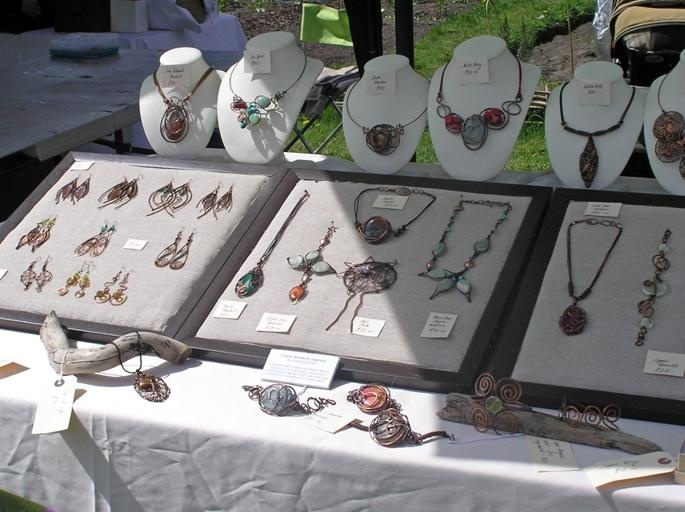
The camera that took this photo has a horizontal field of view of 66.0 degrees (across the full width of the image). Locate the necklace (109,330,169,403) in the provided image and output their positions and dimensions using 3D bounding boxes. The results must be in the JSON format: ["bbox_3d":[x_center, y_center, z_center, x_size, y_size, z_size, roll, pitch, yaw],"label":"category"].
[{"bbox_3d":[-0.530,0.254,1.351,0.090,0.039,0.268,-18,33,-26],"label":"necklace"}]

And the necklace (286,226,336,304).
[{"bbox_3d":[-0.098,0.026,1.572,0.107,0.022,0.210,11,56,25],"label":"necklace"}]

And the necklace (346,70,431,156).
[{"bbox_3d":[0.156,-0.538,1.975,0.319,0.332,0.246,0,38,9],"label":"necklace"}]

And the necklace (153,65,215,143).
[{"bbox_3d":[-0.649,-0.627,2.172,0.257,0.206,0.264,-9,37,-2],"label":"necklace"}]

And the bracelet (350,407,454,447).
[{"bbox_3d":[0.121,0.360,1.140,0.175,0.032,0.084,11,41,24],"label":"bracelet"}]

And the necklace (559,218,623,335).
[{"bbox_3d":[0.663,-0.017,1.416,0.146,0.048,0.449,11,50,24],"label":"necklace"}]

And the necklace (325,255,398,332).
[{"bbox_3d":[0.043,0.071,1.450,0.135,0.014,0.231,9,56,23],"label":"necklace"}]

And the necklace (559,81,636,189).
[{"bbox_3d":[0.831,-0.412,1.793,0.237,0.248,0.258,14,42,25],"label":"necklace"}]

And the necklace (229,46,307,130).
[{"bbox_3d":[-0.307,-0.622,2.043,0.207,0.041,0.278,15,72,30],"label":"necklace"}]

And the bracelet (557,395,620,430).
[{"bbox_3d":[0.554,0.350,1.174,0.099,0.060,0.055,8,73,28],"label":"bracelet"}]

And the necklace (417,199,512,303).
[{"bbox_3d":[0.337,-0.093,1.506,0.175,0.059,0.427,12,50,25],"label":"necklace"}]
